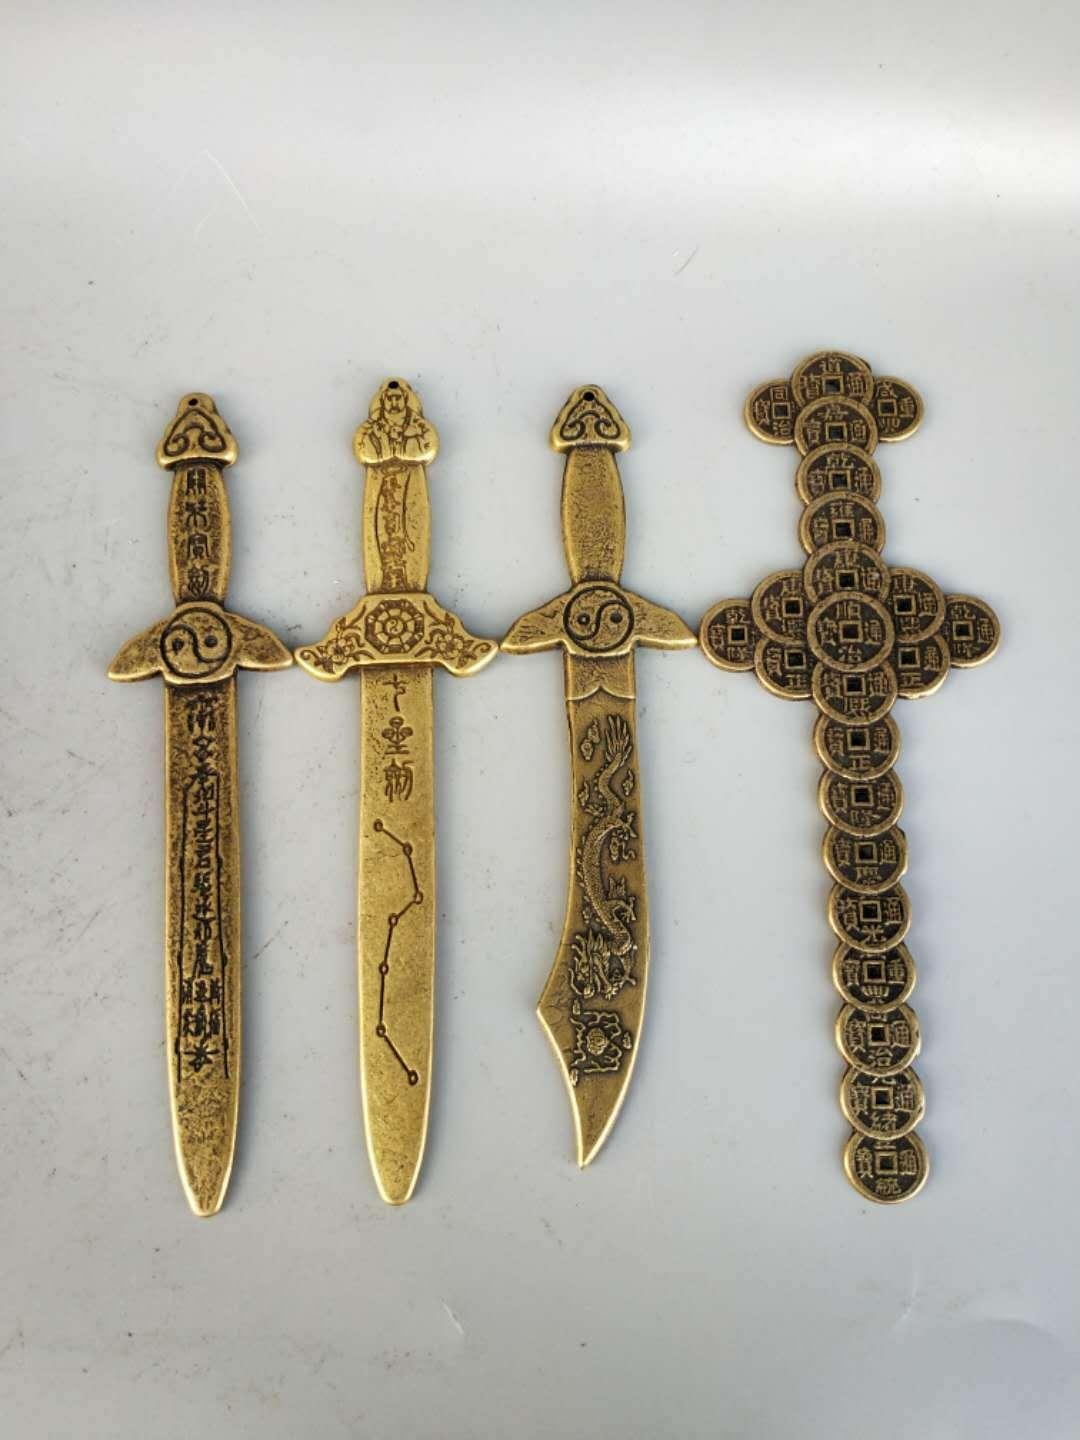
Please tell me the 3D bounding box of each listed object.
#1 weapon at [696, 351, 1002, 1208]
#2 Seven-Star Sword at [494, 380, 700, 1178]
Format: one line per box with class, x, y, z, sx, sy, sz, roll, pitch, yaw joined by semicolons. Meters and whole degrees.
weapon;0.394;0.045;2.641;0.435;0.919;0.016;-4;-5;0
Seven-Star Sword;0.054;0.057;2.723;0.238;0.883;0.430;6;18;3
